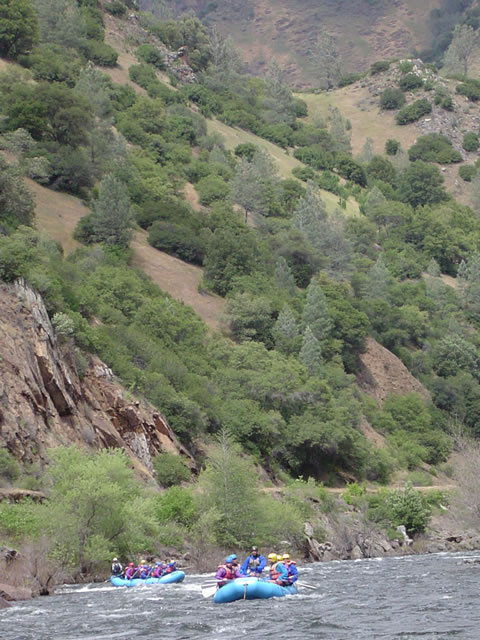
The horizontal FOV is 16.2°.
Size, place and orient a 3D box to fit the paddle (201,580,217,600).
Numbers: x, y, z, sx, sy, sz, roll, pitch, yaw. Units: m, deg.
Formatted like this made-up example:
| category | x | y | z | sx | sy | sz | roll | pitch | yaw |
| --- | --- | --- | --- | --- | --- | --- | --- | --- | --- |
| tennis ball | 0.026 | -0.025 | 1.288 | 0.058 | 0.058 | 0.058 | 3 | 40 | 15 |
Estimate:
| category | x | y | z | sx | sy | sz | roll | pitch | yaw |
| --- | --- | --- | --- | --- | --- | --- | --- | --- | --- |
| paddle | -2.590 | 21.860 | 135.494 | 1.085 | 1.051 | 0.971 | -3 | 8 | -4 |
